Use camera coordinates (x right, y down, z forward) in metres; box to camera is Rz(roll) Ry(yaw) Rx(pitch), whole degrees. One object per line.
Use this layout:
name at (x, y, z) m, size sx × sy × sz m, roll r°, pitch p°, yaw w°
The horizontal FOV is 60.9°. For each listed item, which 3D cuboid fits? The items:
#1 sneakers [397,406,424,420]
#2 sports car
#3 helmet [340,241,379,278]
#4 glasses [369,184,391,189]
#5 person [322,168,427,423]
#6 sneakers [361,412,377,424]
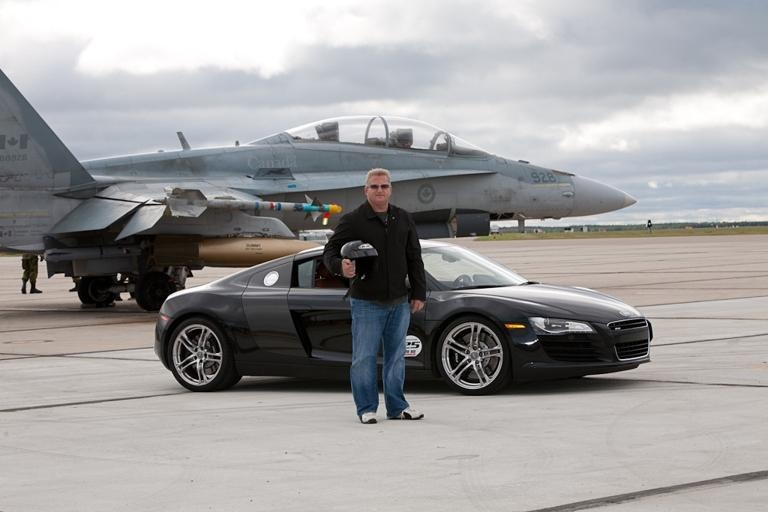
sneakers at (0.260, 1.557, 6.423) m, size 0.320 × 0.079 × 0.109 m, roll -3°, pitch -4°, yaw 19°
sports car at (0.144, 0.777, 8.015) m, size 5.726 × 0.966 × 2.274 m, roll -1°, pitch 0°, yaw 10°
helmet at (-0.223, 0.039, 6.210) m, size 0.331 × 0.365 × 0.221 m, roll -6°, pitch 6°, yaw 0°
glasses at (-0.031, -0.682, 6.413) m, size 0.207 × 0.056 × 0.067 m, roll -4°, pitch 5°, yaw -19°
person at (-0.050, 0.388, 6.372) m, size 0.949 × 2.486 × 0.514 m, roll -8°, pitch 7°, yaw -1°
sneakers at (-0.159, 1.564, 6.293) m, size 0.160 × 0.107 × 0.141 m, roll -4°, pitch 5°, yaw 1°
